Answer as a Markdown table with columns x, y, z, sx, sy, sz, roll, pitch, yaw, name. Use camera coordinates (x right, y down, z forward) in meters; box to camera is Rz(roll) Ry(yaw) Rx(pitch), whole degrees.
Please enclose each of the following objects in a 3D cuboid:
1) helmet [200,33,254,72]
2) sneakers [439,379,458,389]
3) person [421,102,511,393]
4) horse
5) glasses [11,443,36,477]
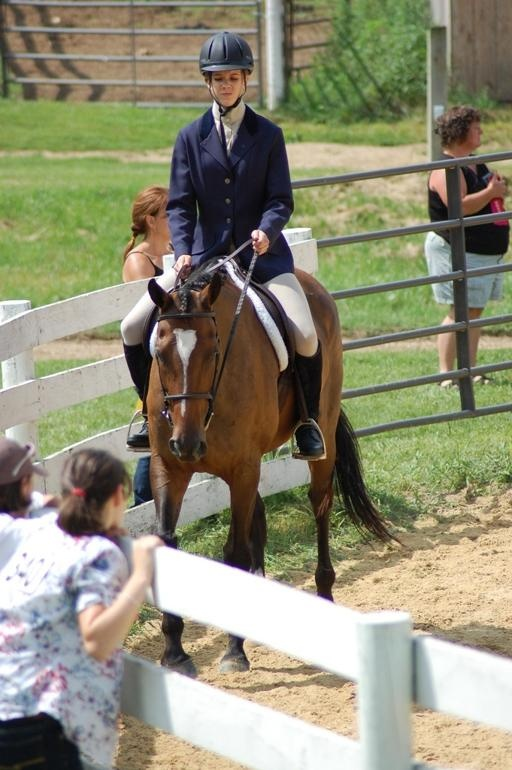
| x | y | z | sx | sy | sz | roll | pitch | yaw | name |
| --- | --- | --- | --- | --- | --- | --- | --- | --- | --- |
| -0.126 | -1.351 | 4.719 | 0.205 | 0.162 | 0.212 | -4 | 13 | -2 | helmet |
| 1.319 | -0.031 | 8.224 | 0.049 | 0.093 | 0.172 | -3 | -6 | 25 | sneakers |
| 1.449 | -0.952 | 8.202 | 0.565 | 1.980 | 1.277 | -2 | 13 | 8 | person |
| -0.013 | 0.263 | 5.202 | 0.658 | 1.734 | 2.665 | 1 | 4 | 18 | horse |
| -0.574 | 0.183 | 3.017 | 0.055 | 0.073 | 0.075 | 14 | 12 | 23 | glasses |
